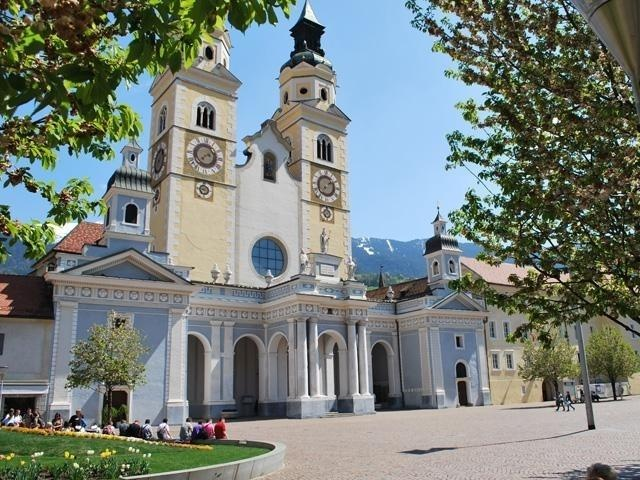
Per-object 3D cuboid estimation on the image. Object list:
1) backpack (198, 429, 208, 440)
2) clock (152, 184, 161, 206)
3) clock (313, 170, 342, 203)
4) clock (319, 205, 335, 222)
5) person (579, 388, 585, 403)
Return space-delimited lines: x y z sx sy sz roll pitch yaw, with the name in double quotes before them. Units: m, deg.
"backpack" -4.227 7.091 20.543 0.443 0.390 0.135 -19 -24 41
"clock" -12.343 -3.399 42.846 0.256 1.685 1.488 8 -21 -30
"clock" 0.584 -4.641 50.100 0.334 2.427 2.368 -19 13 34
"clock" 0.663 -2.245 49.333 1.501 1.409 0.170 12 -23 -38
"person" 24.121 14.420 52.070 0.332 1.089 1.489 -11 -20 25
